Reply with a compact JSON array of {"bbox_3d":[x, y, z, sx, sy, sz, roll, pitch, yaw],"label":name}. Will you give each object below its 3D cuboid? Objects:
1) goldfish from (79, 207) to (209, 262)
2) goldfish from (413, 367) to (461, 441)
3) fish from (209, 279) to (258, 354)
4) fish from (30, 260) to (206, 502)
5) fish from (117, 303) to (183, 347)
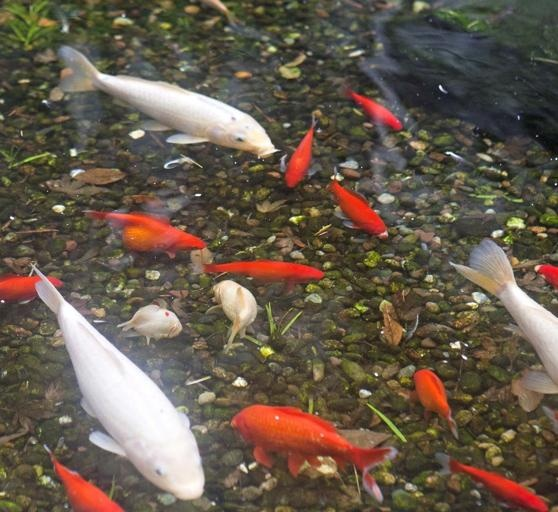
[{"bbox_3d":[-0.883,-0.173,4.105,0.852,0.276,0.294,14,38,20],"label":"goldfish"},{"bbox_3d":[0.875,0.791,3.431,0.224,0.344,0.359,-2,36,-3],"label":"goldfish"},{"bbox_3d":[-0.253,0.331,3.752,0.333,0.253,0.545,-8,33,-21],"label":"fish"},{"bbox_3d":[-0.881,0.669,3.398,0.600,0.583,1.566,-31,63,-25],"label":"fish"},{"bbox_3d":[-0.751,0.423,3.676,0.394,0.203,0.190,11,31,-21],"label":"fish"}]
